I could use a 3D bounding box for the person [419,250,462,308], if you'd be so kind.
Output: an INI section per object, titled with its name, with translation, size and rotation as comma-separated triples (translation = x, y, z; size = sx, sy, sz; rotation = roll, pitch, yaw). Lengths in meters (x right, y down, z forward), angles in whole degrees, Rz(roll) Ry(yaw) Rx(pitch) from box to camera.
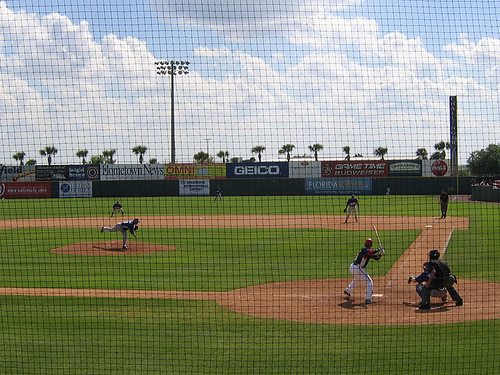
[person]
translation = 6.558, 3.376, 35.047
size = 1.383, 1.636, 0.393
rotation = 1, 1, 3

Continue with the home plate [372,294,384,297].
[home plate]
translation = 4.551, 3.897, 36.182
size = 0.375, 0.066, 0.245
rotation = 1, 1, 2

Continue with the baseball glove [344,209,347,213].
[baseball glove]
translation = 4.862, 1.175, 52.226
size = 0.083, 0.156, 0.151
rotation = 5, -2, 8
